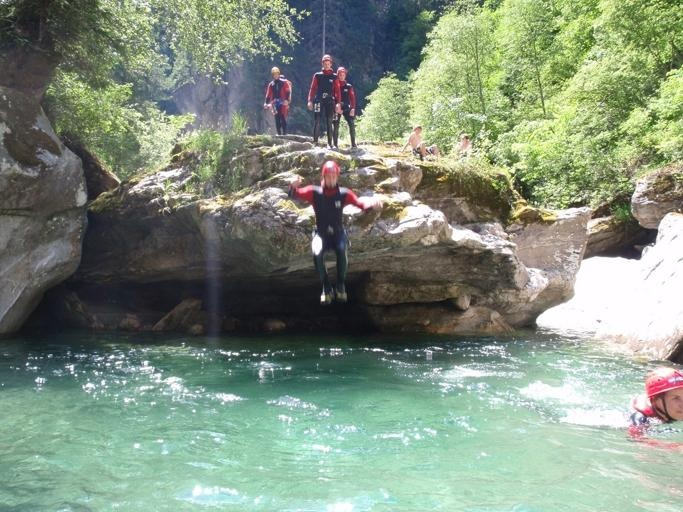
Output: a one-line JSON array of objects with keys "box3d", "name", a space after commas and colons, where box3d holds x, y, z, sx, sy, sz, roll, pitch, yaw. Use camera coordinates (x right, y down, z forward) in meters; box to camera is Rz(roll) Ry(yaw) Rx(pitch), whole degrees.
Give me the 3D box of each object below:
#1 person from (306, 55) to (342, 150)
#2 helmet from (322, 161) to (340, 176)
[{"box3d": [-0.442, -3.665, 13.727, 0.784, 2.067, 0.762, 3, 15, 11], "name": "person"}, {"box3d": [-0.210, -1.647, 10.995, 0.255, 0.273, 0.333, 1, 12, 5], "name": "helmet"}]
